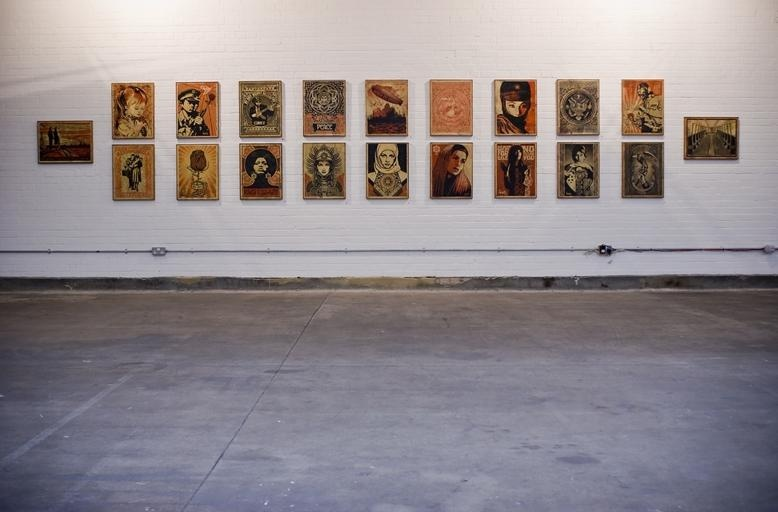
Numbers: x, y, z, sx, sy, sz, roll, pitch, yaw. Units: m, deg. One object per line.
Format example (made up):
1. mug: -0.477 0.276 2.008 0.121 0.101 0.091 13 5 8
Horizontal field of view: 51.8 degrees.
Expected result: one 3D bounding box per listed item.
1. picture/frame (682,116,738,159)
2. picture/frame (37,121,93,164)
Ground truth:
1. picture/frame: 7.762 -2.897 19.382 1.133 0.825 0.072 -1 5 2
2. picture/frame: -7.892 -2.811 19.561 1.143 0.784 0.042 2 7 5
